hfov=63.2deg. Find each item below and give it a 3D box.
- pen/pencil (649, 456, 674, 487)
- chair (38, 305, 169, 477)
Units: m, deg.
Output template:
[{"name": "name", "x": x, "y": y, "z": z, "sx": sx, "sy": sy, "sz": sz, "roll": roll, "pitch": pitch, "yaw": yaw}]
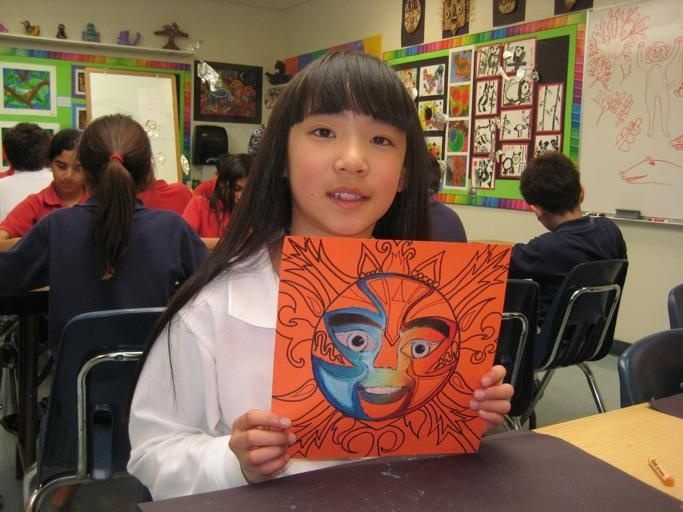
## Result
[{"name": "pen/pencil", "x": 0.544, "y": 0.369, "z": 0.941, "sx": 0.008, "sy": 0.011, "sz": 0.043, "roll": -16, "pitch": 22, "yaw": 2}, {"name": "chair", "x": -0.599, "y": 0.321, "z": 1.310, "sx": 0.297, "sy": 0.444, "sz": 0.303, "roll": 7, "pitch": -8, "yaw": -23}]
